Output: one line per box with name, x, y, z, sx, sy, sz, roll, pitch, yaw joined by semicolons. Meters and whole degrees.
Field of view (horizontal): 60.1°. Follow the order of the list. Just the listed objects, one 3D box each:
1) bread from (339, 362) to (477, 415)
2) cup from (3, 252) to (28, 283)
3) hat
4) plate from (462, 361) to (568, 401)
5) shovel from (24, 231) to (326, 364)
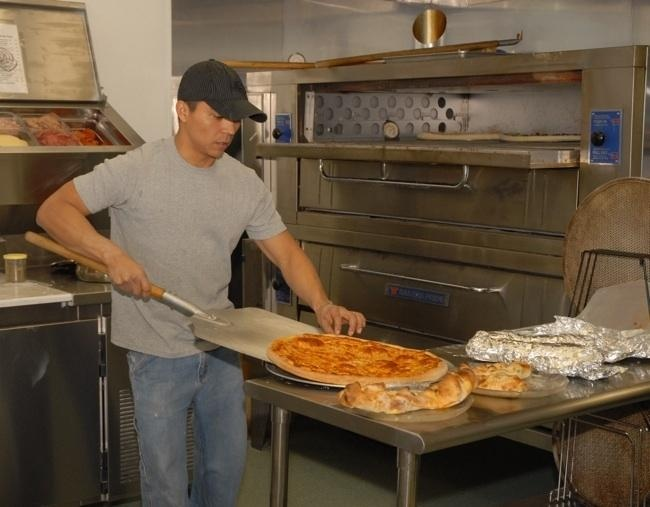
bread;0.159;0.232;1.058;0.156;0.041;0.108;-6;4;-21
cup;-1.372;0.068;2.485;0.122;0.126;0.121;1;3;0
hat;-0.325;-0.506;1.744;0.309;0.157;0.203;21;22;33
plate;0.407;0.260;1.147;0.161;0.016;0.161;-20;-48;34
shovel;-0.427;0.111;1.636;1.053;0.297;0.049;-13;35;-43
